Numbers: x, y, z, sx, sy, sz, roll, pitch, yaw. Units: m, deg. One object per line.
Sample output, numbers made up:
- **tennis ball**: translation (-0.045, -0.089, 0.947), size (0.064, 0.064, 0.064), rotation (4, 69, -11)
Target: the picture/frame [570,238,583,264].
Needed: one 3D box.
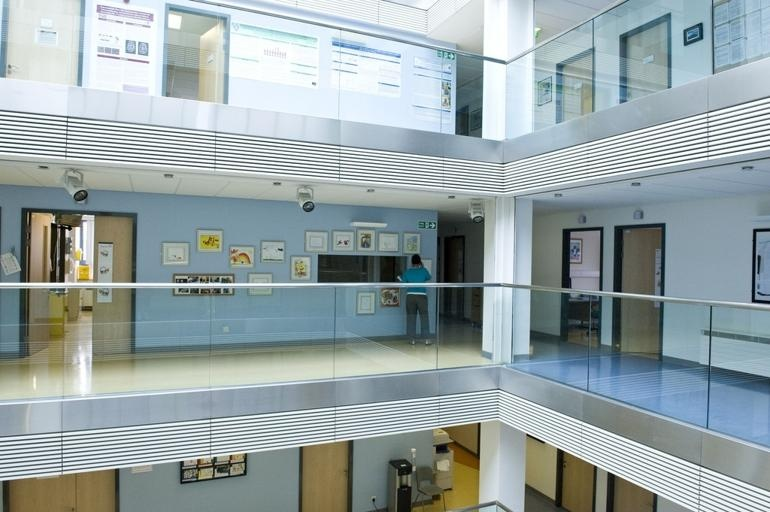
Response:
- **picture/frame**: translation (5.126, -0.092, 15.555), size (0.677, 0.764, 0.034), rotation (0, 0, -18)

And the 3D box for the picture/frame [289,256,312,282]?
- **picture/frame**: translation (-1.869, 0.286, 12.735), size (0.546, 0.622, 0.045), rotation (-2, 4, -20)

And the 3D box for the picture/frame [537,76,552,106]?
- **picture/frame**: translation (2.764, -2.833, 10.068), size (0.051, 0.469, 0.408), rotation (-6, 13, -26)

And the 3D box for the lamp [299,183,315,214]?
- **lamp**: translation (-1.397, -1.014, 10.397), size (0.239, 0.492, 0.563), rotation (-1, 11, -1)

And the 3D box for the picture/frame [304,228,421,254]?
- **picture/frame**: translation (-0.663, -0.295, 13.211), size (2.334, 0.664, 0.229), rotation (-3, 12, -16)

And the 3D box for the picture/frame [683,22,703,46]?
- **picture/frame**: translation (4.272, -3.048, 8.046), size (0.048, 0.324, 0.364), rotation (1, -2, -32)

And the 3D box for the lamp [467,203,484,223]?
- **lamp**: translation (1.830, -0.871, 11.744), size (0.399, 0.424, 0.282), rotation (0, -6, -7)
